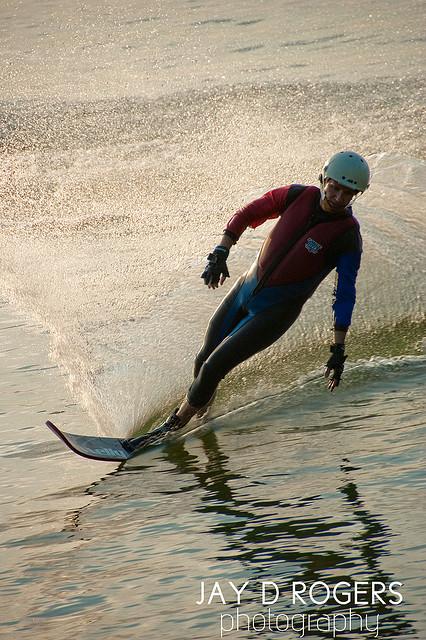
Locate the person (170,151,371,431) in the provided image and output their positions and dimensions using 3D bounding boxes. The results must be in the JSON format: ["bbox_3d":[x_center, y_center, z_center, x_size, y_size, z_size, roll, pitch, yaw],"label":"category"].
[{"bbox_3d":[0.313,-0.212,4.741,1.079,1.206,0.964,0,44,17],"label":"person"}]
